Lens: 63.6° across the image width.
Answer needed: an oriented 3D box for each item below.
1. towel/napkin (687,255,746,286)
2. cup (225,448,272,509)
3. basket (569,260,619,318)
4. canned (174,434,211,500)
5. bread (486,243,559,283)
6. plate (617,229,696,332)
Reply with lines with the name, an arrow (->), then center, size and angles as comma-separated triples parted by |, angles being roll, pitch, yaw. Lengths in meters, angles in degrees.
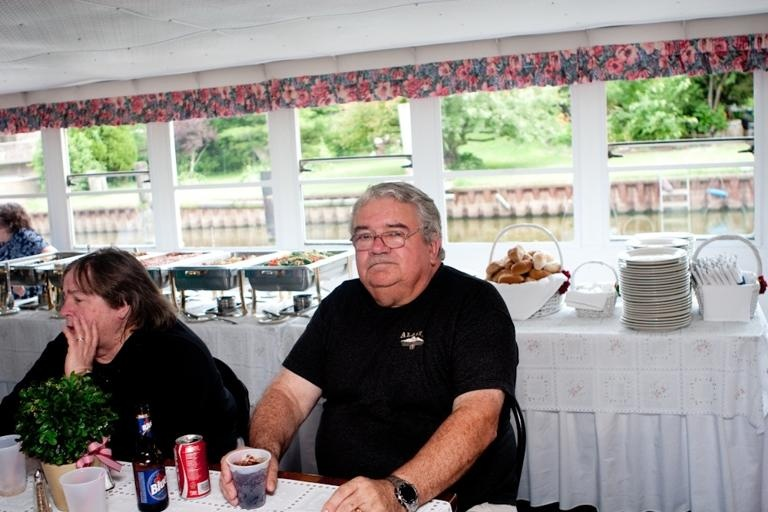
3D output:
towel/napkin -> 1.787, 0.064, 3.347 | 0.177, 0.095, 0.203 | -1, 8, 18
cup -> -0.448, 0.723, 2.087 | 0.179, 0.175, 0.176 | 0, 0, 0
basket -> 1.208, 0.185, 3.590 | 0.260, 0.302, 0.339 | 2, 8, 38
canned -> -0.654, 0.724, 2.131 | 0.116, 0.186, 0.109 | -6, 3, -3
bread -> 0.797, 0.060, 3.561 | 0.298, 0.109, 0.264 | -12, 6, 0
plate -> 1.529, 0.122, 3.582 | 0.291, 0.325, 0.858 | -3, 6, 13
